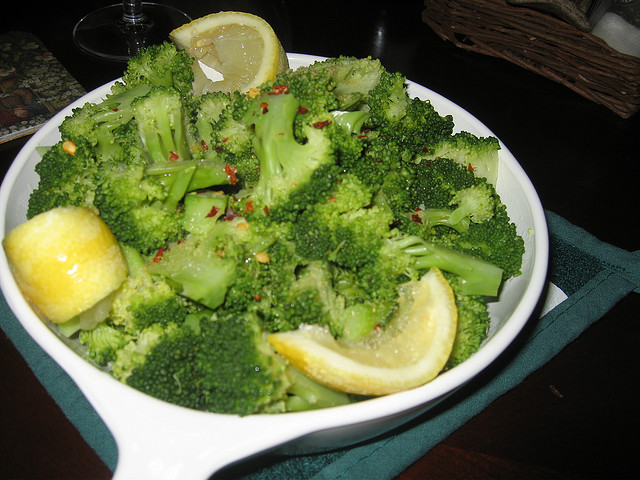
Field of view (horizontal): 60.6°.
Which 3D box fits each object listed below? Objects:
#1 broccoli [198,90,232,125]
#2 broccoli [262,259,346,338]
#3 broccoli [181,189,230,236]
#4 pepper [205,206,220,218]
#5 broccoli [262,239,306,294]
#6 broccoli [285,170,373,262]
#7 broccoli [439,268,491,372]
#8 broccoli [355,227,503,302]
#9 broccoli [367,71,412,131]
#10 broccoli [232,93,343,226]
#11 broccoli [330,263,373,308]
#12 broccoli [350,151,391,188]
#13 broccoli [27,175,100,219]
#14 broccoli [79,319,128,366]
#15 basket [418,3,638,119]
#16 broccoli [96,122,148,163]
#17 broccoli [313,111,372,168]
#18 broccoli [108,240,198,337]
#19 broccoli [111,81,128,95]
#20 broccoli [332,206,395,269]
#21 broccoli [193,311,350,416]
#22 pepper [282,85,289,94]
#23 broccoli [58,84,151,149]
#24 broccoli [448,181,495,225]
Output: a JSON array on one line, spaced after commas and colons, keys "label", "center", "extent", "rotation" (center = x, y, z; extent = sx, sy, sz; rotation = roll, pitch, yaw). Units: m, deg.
[{"label": "broccoli", "center": [-0.406, -0.555, 2.207], "extent": [0.149, 0.145, 0.104], "rotation": [9, 95, -25]}, {"label": "broccoli", "center": [-0.037, 0.215, 1.932], "extent": [0.258, 0.088, 0.252], "rotation": [27, 75, 0]}, {"label": "broccoli", "center": [-0.439, -0.084, 2.040], "extent": [0.214, 0.243, 0.061], "rotation": [-36, 87, 8]}, {"label": "pepper", "center": [-0.389, -0.102, 1.993], "extent": [0.028, 0.011, 0.051], "rotation": [39, 98, -7]}, {"label": "broccoli", "center": [-0.139, 0.096, 1.970], "extent": [0.150, 0.067, 0.173], "rotation": [-22, 75, -4]}, {"label": "broccoli", "center": [0.018, -0.074, 1.839], "extent": [0.233, 0.105, 0.333], "rotation": [27, 87, 3]}, {"label": "broccoli", "center": [0.536, 0.312, 2.062], "extent": [0.250, 0.100, 0.311], "rotation": [-1, 67, -1]}, {"label": "broccoli", "center": [0.390, 0.087, 1.911], "extent": [0.418, 0.206, 0.286], "rotation": [11, 54, 12]}, {"label": "broccoli", "center": [0.314, -0.550, 2.229], "extent": [0.078, 0.214, 0.203], "rotation": [-52, 124, -24]}, {"label": "broccoli", "center": [-0.102, -0.269, 1.932], "extent": [0.390, 0.126, 0.474], "rotation": [-10, 85, 6]}, {"label": "broccoli", "center": [0.112, 0.171, 1.989], "extent": [0.164, 0.045, 0.115], "rotation": [24, 48, 33]}, {"label": "broccoli", "center": [0.186, -0.267, 2.058], "extent": [0.132, 0.052, 0.137], "rotation": [-8, 63, -34]}, {"label": "broccoli", "center": [-0.902, -0.169, 2.002], "extent": [0.225, 0.241, 0.077], "rotation": [1, 64, 46]}, {"label": "broccoli", "center": [-0.765, 0.362, 1.941], "extent": [0.152, 0.057, 0.165], "rotation": [-23, 89, -3]}, {"label": "basket", "center": [1.279, -1.104, 3.460], "extent": [0.632, 0.325, 1.132], "rotation": [-37, 55, -23]}, {"label": "broccoli", "center": [-0.732, -0.357, 2.040], "extent": [0.144, 0.048, 0.153], "rotation": [-19, 72, -7]}, {"label": "broccoli", "center": [0.097, -0.392, 2.038], "extent": [0.182, 0.077, 0.227], "rotation": [-7, 70, -24]}, {"label": "broccoli", "center": [-0.612, 0.202, 2.013], "extent": [0.239, 0.123, 0.378], "rotation": [-27, 92, -5]}, {"label": "broccoli", "center": [-0.810, -0.614, 2.202], "extent": [0.051, 0.014, 0.055], "rotation": [3, 61, 0]}, {"label": "broccoli", "center": [0.159, -0.015, 1.984], "extent": [0.230, 0.125, 0.190], "rotation": [-19, 76, -4]}, {"label": "broccoli", "center": [-0.164, 0.400, 1.813], "extent": [0.500, 0.222, 0.333], "rotation": [-4, 75, 0]}, {"label": "pepper", "center": [-0.119, -0.542, 1.961], "extent": [0.022, 0.008, 0.031], "rotation": [-9, 73, -18]}, {"label": "broccoli", "center": [-0.787, -0.451, 2.108], "extent": [0.322, 0.139, 0.208], "rotation": [-40, 67, -7]}, {"label": "broccoli", "center": [0.603, -0.140, 2.121], "extent": [0.170, 0.070, 0.149], "rotation": [-22, 70, 27]}]
